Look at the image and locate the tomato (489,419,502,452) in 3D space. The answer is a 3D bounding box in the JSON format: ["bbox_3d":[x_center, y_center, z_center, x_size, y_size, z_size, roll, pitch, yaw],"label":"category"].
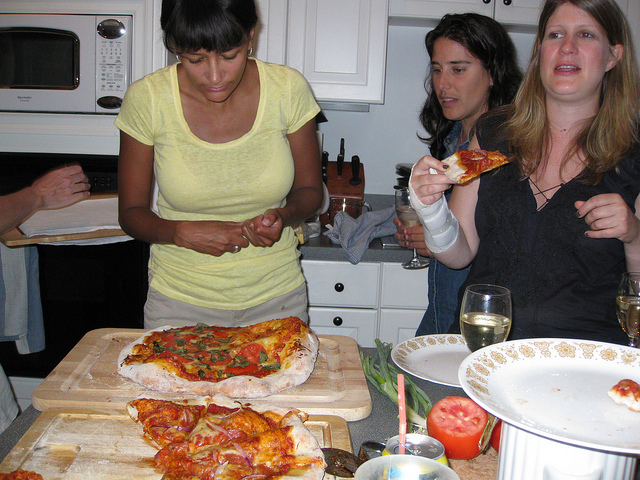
[{"bbox_3d":[0.421,0.481,1.268,0.025,0.095,0.070,1,12,20],"label":"tomato"}]

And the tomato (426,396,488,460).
[{"bbox_3d":[0.320,0.465,1.288,0.141,0.081,0.141,-12,36,-8],"label":"tomato"}]

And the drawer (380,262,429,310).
[{"bbox_3d":[0.483,0.287,3.235,0.359,0.319,0.249,-1,-5,34],"label":"drawer"}]

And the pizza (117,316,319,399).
[{"bbox_3d":[-0.336,0.374,1.689,0.390,0.054,0.292,4,11,-2],"label":"pizza"}]

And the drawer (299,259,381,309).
[{"bbox_3d":[0.171,0.267,3.262,0.530,0.307,0.295,-1,-2,24],"label":"drawer"}]

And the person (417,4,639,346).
[{"bbox_3d":[0.730,-0.215,1.790,0.667,1.120,0.549,1,11,18],"label":"person"}]

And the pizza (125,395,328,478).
[{"bbox_3d":[-0.255,0.499,1.336,0.510,0.113,0.313,-5,11,-10],"label":"pizza"}]

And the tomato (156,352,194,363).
[{"bbox_3d":[-0.455,0.368,1.659,0.052,0.014,0.051,20,5,29],"label":"tomato"}]

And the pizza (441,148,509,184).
[{"bbox_3d":[0.504,-0.268,1.715,0.208,0.042,0.125,-19,51,-23],"label":"pizza"}]

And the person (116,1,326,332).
[{"bbox_3d":[-0.363,-0.201,1.838,0.735,1.124,0.430,-3,11,0],"label":"person"}]
